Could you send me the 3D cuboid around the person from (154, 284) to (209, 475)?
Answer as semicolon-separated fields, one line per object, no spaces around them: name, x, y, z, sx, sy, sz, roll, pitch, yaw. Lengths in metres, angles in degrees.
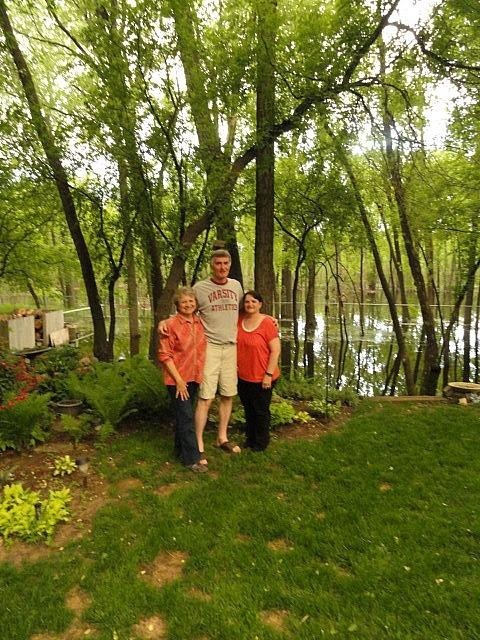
person;-0.638;0.619;4.964;0.496;1.919;0.517;1;9;-5

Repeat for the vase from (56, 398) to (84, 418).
vase;-2.391;1.218;6.319;0.356;0.182;0.366;-3;9;-25

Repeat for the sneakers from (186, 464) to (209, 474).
sneakers;-0.460;1.590;4.894;0.200;0.088;0.088;-3;1;23

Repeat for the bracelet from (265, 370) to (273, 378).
bracelet;0.322;0.614;5.199;0.087;0.071;0.076;1;9;-1
